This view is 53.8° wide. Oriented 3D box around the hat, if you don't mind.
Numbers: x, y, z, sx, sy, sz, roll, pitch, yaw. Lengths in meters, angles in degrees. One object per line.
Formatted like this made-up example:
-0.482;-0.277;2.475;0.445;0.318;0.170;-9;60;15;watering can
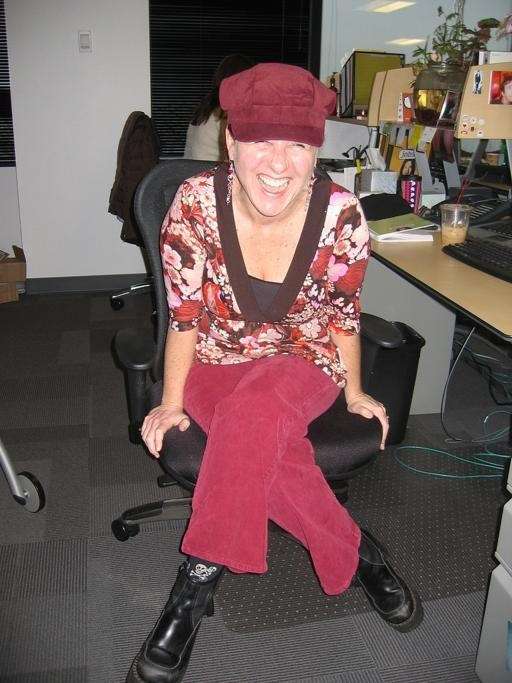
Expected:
0.033;-0.386;0.824;0.137;0.073;0.165;-1;42;-3;hat

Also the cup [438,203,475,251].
0.657;-0.380;1.659;0.103;0.127;0.092;-2;18;-7;cup

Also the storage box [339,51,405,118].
0.800;-1.570;3.136;0.273;0.365;0.379;23;26;33;storage box
